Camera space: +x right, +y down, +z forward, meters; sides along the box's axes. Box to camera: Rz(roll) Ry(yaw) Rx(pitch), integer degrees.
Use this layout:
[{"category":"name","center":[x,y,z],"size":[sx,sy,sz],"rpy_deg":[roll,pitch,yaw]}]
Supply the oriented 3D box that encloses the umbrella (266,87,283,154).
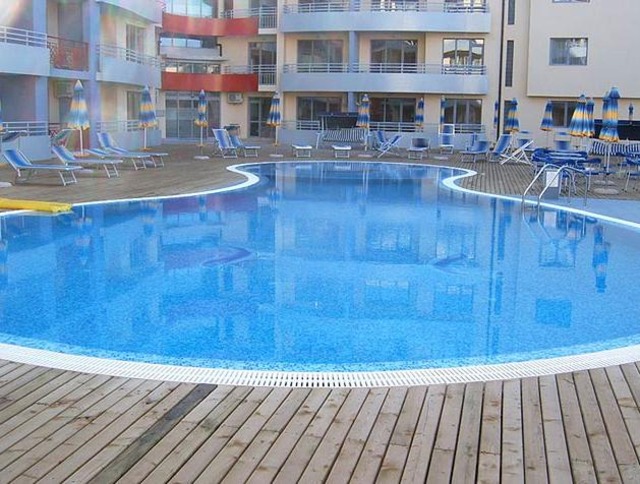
[{"category":"umbrella","center":[-2.143,-5.967,24.377],"size":[0.942,2.375,0.907],"rpy_deg":[4,17,2]}]

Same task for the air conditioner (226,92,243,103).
[{"category":"air conditioner","center":[-5.891,-10.044,35.435],"size":[1.171,0.741,0.623],"rpy_deg":[2,17,-2]}]
